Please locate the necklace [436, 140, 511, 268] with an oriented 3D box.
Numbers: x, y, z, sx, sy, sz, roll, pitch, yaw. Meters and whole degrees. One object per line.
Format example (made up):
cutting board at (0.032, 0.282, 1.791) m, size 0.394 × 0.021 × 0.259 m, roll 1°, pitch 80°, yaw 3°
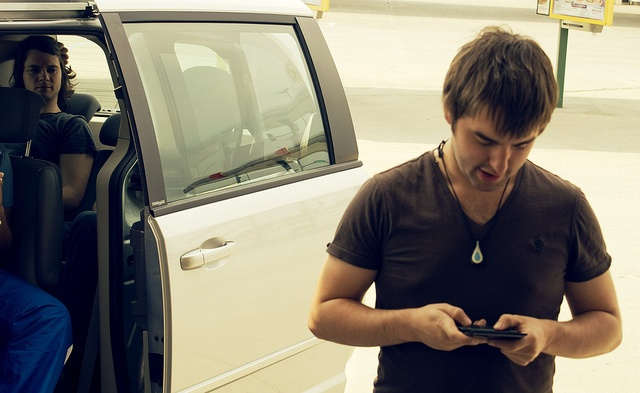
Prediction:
necklace at (0.521, 0.021, 1.767) m, size 0.275 × 0.371 × 0.257 m, roll 11°, pitch 27°, yaw 26°
